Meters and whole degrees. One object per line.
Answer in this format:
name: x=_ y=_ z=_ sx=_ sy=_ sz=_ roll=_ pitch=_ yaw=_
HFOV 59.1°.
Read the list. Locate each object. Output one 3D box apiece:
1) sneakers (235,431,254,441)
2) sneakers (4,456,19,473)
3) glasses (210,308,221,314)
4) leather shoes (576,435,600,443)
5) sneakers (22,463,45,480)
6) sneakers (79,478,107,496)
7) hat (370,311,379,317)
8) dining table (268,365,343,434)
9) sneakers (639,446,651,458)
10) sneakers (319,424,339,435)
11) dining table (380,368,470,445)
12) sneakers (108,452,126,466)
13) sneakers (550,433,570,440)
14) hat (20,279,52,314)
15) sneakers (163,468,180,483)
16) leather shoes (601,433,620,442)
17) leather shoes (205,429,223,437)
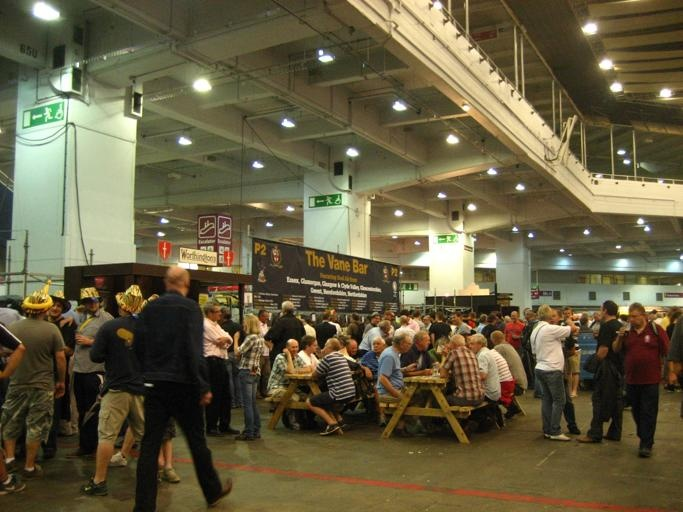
sneakers: x=-1.573 y=2.830 z=9.487 sx=0.342 sy=0.120 sz=0.110 roll=2 pitch=-8 yaw=9
sneakers: x=-3.886 y=2.469 z=7.088 sx=0.122 sy=0.146 sz=0.182 roll=3 pitch=-5 yaw=-29
glasses: x=-1.908 y=0.813 z=9.048 sx=0.105 sy=0.084 sz=0.077 roll=-17 pitch=5 yaw=14
leather shoes: x=3.740 y=2.817 z=9.287 sx=0.397 sy=0.140 sz=0.120 roll=-12 pitch=-13 yaw=24
sneakers: x=-3.778 y=2.644 z=7.420 sx=0.150 sy=0.118 sz=0.296 roll=3 pitch=-8 yaw=3
sneakers: x=-2.843 y=2.627 z=6.833 sx=0.342 sy=0.129 sz=0.141 roll=2 pitch=-11 yaw=11
hat: x=0.812 y=1.479 z=15.197 sx=0.216 sy=0.146 sz=0.170 roll=6 pitch=-6 yaw=42
dining table: x=-0.906 y=2.458 z=10.623 sx=1.306 sy=0.838 sz=1.121 roll=4 pitch=-1 yaw=-22
sneakers: x=4.179 y=2.710 z=8.312 sx=0.089 sy=0.076 sz=0.212 roll=0 pitch=-2 yaw=34
sneakers: x=-0.262 y=2.874 z=9.954 sx=0.395 sy=0.135 sz=0.130 roll=4 pitch=-21 yaw=-27
dining table: x=1.497 y=2.471 z=10.171 sx=1.559 sy=0.807 sz=1.620 roll=-2 pitch=-5 yaw=22
sneakers: x=-2.923 y=2.669 z=7.883 sx=0.271 sy=0.140 sz=0.110 roll=6 pitch=-12 yaw=-4
sneakers: x=3.375 y=2.808 z=9.394 sx=0.360 sy=0.121 sz=0.107 roll=-3 pitch=-9 yaw=7
hat: x=-4.877 y=0.617 z=9.610 sx=0.472 sy=0.260 sz=0.660 roll=3 pitch=24 yaw=1
sneakers: x=-2.092 y=2.678 z=7.386 sx=0.318 sy=0.109 sz=0.119 roll=-2 pitch=-6 yaw=42
leather shoes: x=4.150 y=2.782 z=9.285 sx=0.217 sy=0.177 sz=0.104 roll=5 pitch=-13 yaw=33
leather shoes: x=-2.077 y=2.871 z=9.762 sx=0.297 sy=0.091 sz=0.096 roll=2 pitch=-10 yaw=-3
